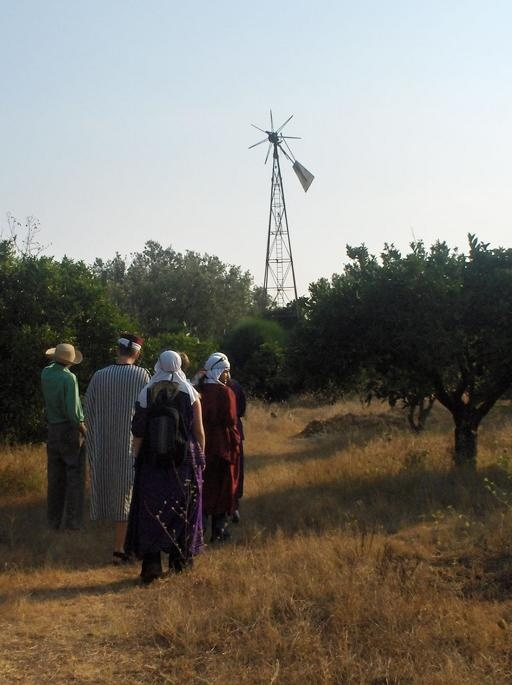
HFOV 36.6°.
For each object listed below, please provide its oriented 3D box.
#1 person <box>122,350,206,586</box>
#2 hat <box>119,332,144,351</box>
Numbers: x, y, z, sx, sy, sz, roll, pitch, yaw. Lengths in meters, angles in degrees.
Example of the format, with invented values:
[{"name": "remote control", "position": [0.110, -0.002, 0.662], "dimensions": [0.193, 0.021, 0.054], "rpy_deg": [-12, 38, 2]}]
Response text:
[{"name": "person", "position": [-0.800, 1.016, 6.592], "dimensions": [0.697, 1.655, 0.445], "rpy_deg": [-3, 1, -6]}, {"name": "hat", "position": [-1.213, -0.010, 7.466], "dimensions": [0.156, 0.137, 0.206], "rpy_deg": [8, 4, 6]}]
